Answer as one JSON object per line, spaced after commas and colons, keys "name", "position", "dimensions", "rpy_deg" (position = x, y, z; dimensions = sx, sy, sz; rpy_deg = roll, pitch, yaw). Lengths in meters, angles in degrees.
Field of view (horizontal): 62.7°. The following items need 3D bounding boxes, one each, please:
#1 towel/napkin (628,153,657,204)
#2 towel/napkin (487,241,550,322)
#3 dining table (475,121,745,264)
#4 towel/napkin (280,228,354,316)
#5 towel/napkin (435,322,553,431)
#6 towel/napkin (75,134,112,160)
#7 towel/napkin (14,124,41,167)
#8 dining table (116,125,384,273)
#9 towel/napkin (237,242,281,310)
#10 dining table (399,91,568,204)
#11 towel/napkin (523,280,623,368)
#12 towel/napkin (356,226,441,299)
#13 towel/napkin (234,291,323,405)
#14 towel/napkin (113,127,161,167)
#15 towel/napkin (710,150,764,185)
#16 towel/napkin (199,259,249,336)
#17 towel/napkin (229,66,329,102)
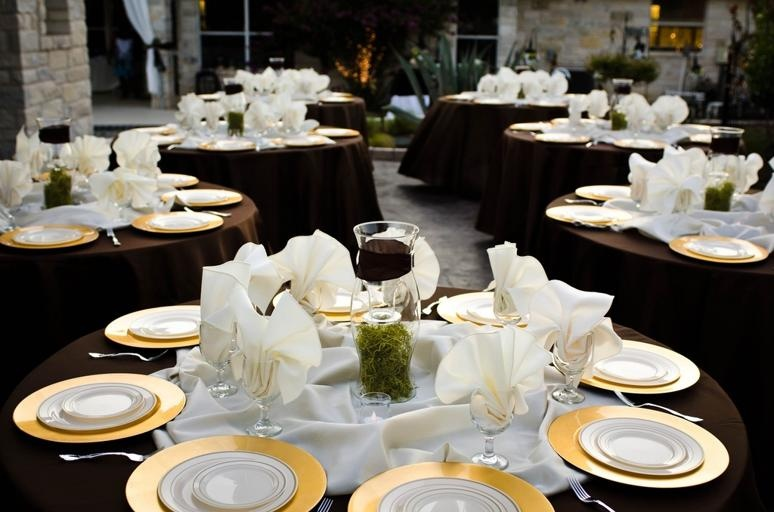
{"name": "towel/napkin", "position": [1.260, -0.371, 3.184], "dimensions": [0.078, 0.149, 0.117], "rpy_deg": [6, 58, 38]}
{"name": "towel/napkin", "position": [0.386, 0.095, 2.052], "dimensions": [0.151, 0.232, 0.167], "rpy_deg": [-5, -12, 31]}
{"name": "dining table", "position": [1.459, -0.666, 5.180], "dimensions": [1.322, 0.800, 1.335], "rpy_deg": [-17, 22, -40]}
{"name": "towel/napkin", "position": [-0.217, 0.028, 2.034], "dimensions": [0.237, 0.268, 0.115], "rpy_deg": [-15, 11, 2]}
{"name": "towel/napkin", "position": [0.282, 0.296, 1.610], "dimensions": [0.255, 0.251, 0.279], "rpy_deg": [-21, 2, 16]}
{"name": "towel/napkin", "position": [-1.445, -0.530, 3.113], "dimensions": [0.147, 0.076, 0.170], "rpy_deg": [8, 11, -5]}
{"name": "towel/napkin", "position": [-1.720, -0.516, 3.056], "dimensions": [0.112, 0.178, 0.305], "rpy_deg": [-8, 20, -31]}
{"name": "dining table", "position": [-0.826, -0.610, 4.719], "dimensions": [1.001, 0.547, 0.993], "rpy_deg": [29, 47, 32]}
{"name": "towel/napkin", "position": [-0.383, 0.073, 1.824], "dimensions": [0.062, 0.179, 0.192], "rpy_deg": [4, -23, 13]}
{"name": "dining table", "position": [0.816, -1.225, 6.762], "dimensions": [1.207, 0.682, 1.140], "rpy_deg": [0, 21, -22]}
{"name": "towel/napkin", "position": [0.497, 0.192, 1.771], "dimensions": [0.266, 0.155, 0.358], "rpy_deg": [0, 5, 23]}
{"name": "towel/napkin", "position": [0.012, -0.013, 1.766], "dimensions": [0.169, 0.195, 0.048], "rpy_deg": [2, 49, -29]}
{"name": "towel/napkin", "position": [-0.304, 0.232, 1.661], "dimensions": [0.260, 0.317, 0.151], "rpy_deg": [6, 20, 21]}
{"name": "towel/napkin", "position": [-1.224, -0.523, 3.103], "dimensions": [0.181, 0.166, 0.163], "rpy_deg": [8, 18, 19]}
{"name": "towel/napkin", "position": [1.707, -0.416, 3.149], "dimensions": [0.185, 0.184, 0.372], "rpy_deg": [17, 22, 40]}
{"name": "towel/napkin", "position": [-0.433, 0.078, 1.756], "dimensions": [0.104, 0.086, 0.152], "rpy_deg": [2, 49, -24]}
{"name": "towel/napkin", "position": [-0.948, -1.636, 6.024], "dimensions": [0.759, 0.279, 0.732], "rpy_deg": [-2, 9, -31]}
